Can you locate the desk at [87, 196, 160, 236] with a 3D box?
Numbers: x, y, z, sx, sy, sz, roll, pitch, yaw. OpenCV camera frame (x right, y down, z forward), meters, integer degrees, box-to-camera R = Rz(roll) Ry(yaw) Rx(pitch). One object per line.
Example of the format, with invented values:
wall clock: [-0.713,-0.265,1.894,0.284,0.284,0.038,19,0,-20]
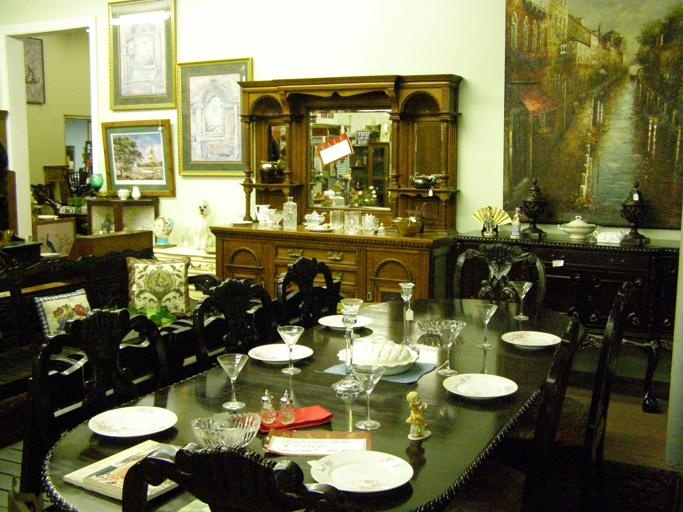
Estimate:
desk: [-2.654,-0.470,6.840,0.872,0.425,0.391,4,12,17]

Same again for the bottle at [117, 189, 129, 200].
bottle: [-2.619,-0.730,6.907,0.135,0.108,0.137,0,2,0]

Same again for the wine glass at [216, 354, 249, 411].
wine glass: [-0.441,0.522,2.395,0.188,0.239,0.199,0,-3,2]

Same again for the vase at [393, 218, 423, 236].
vase: [0.604,-0.264,5.180,0.255,0.159,0.212,0,12,1]

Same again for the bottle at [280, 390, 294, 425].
bottle: [-0.210,0.586,2.199,0.060,0.082,0.135,-1,12,-7]

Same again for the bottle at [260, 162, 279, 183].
bottle: [-0.762,-0.866,6.018,0.184,0.212,0.214,0,1,8]

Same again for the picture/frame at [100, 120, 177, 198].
picture/frame: [-2.441,-1.151,6.862,0.986,0.878,0.051,3,9,21]

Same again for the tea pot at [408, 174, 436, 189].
tea pot: [0.767,-0.690,5.361,0.181,0.103,0.132,6,9,26]

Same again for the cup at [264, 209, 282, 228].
cup: [-0.703,-0.379,5.861,0.192,0.182,0.174,-1,9,-9]

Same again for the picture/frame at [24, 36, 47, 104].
picture/frame: [-5.014,-3.007,9.354,0.136,1.070,0.450,7,14,31]

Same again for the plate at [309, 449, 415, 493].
plate: [0.065,0.695,1.835,0.319,0.036,0.189,0,11,0]

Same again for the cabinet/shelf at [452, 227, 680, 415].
cabinet/shelf: [1.512,0.393,3.702,1.373,1.020,0.538,2,4,28]

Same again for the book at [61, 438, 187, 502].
book: [-0.733,0.704,1.928,0.265,0.058,0.277,6,13,25]

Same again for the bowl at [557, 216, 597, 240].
bowl: [1.961,-0.211,4.794,0.267,0.162,0.215,0,0,-2]

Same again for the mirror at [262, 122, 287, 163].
mirror: [-0.696,-1.202,6.088,0.231,0.383,0.070,5,13,22]

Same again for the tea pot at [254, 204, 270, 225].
tea pot: [-0.817,-0.425,5.953,0.205,0.221,0.206,1,2,0]

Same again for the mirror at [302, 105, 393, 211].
mirror: [0.097,-1.012,5.764,1.071,1.245,0.059,3,5,21]

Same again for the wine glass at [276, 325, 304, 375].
wine glass: [-0.227,0.433,2.663,0.193,0.244,0.203,0,-2,2]

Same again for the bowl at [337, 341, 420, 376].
bowl: [0.170,0.463,2.646,0.196,0.069,0.200,1,1,0]
